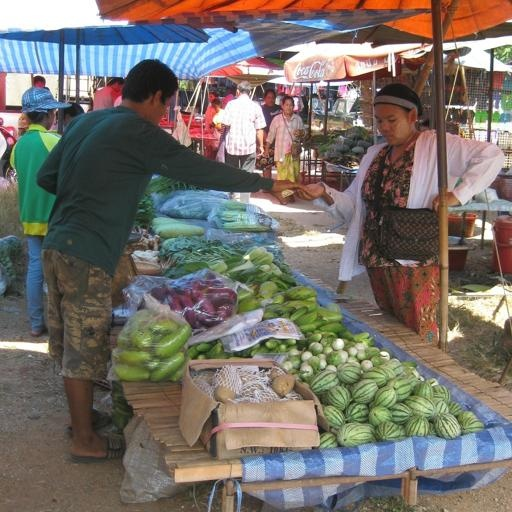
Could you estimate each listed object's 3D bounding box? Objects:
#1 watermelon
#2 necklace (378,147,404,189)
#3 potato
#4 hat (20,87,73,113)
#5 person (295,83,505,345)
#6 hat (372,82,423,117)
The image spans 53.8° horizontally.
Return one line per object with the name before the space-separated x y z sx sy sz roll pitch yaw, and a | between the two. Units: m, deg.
watermelon | 0.553 0.600 2.108 0.702 0.201 0.444 -1 12 -11
necklace | 0.858 -0.529 3.104 0.225 0.233 0.111 -2 -4 28
potato | -0.056 0.506 1.978 0.236 0.063 0.208 3 3 -18
hat | -1.936 -1.376 4.548 0.463 0.267 0.277 -13 17 -28
person | 0.895 -0.348 3.103 1.000 1.930 0.852 -1 6 -16
hat | 0.837 -0.916 2.936 0.286 0.180 0.220 4 13 11
